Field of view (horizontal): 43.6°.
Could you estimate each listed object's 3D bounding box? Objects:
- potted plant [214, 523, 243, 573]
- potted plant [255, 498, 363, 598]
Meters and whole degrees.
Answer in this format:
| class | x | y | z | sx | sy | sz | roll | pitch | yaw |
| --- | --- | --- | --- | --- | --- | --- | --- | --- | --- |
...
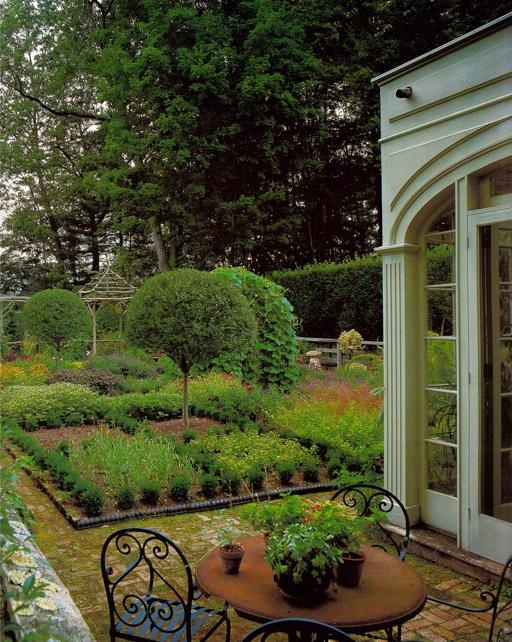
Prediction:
| class | x | y | z | sx | sy | sz | roll | pitch | yaw |
| --- | --- | --- | --- | --- | --- | --- | --- | --- | --- |
| potted plant | -0.099 | 0.894 | 2.497 | 0.102 | 0.148 | 0.127 | -20 | -11 | 42 |
| potted plant | 0.200 | 0.788 | 2.289 | 0.384 | 0.244 | 0.346 | 1 | -3 | 5 |
